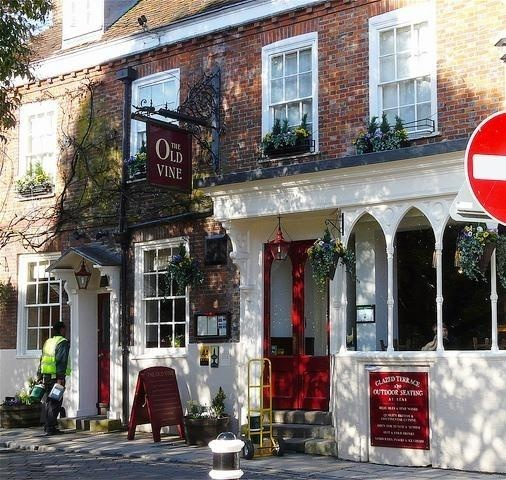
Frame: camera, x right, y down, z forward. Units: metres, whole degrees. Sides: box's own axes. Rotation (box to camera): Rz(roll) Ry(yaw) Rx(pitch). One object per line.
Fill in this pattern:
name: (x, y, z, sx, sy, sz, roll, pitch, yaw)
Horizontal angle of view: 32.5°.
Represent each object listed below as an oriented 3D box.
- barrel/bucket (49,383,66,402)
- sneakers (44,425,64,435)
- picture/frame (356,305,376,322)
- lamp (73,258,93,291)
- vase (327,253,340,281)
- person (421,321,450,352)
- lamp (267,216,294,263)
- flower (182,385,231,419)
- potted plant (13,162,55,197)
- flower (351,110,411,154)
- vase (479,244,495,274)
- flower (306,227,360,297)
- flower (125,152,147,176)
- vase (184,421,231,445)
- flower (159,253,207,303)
barrel/bucket: (-3.366, 2.653, 15.107, 0.258, 0.312, 0.332, -1, -7, -12)
sneakers: (-3.480, 3.386, 15.433, 0.317, 0.186, 0.132, 1, -1, -13)
picture/frame: (1.679, 1.182, 13.842, 0.192, 0.408, 0.349, 5, -7, -40)
lamp: (-3.293, 0.678, 16.987, 0.304, 0.545, 0.583, -1, -7, -12)
vase: (1.101, 0.382, 12.878, 0.173, 0.352, 0.261, -2, -7, 5)
person: (2.637, 1.513, 13.405, 0.359, 0.421, 2.838, -4, -8, 10)
lamp: (0.344, -0.024, 13.744, 0.316, 0.820, 0.326, -16, -24, 40)
flower: (-0.820, 2.726, 14.498, 0.509, 0.475, 0.477, -3, -8, 10)
potted plant: (-4.474, -1.262, 18.126, 0.991, 0.742, 0.227, -9, -9, 38)
flower: (1.843, -1.674, 13.453, 0.817, 0.693, 0.507, -6, -8, 22)
vase: (2.989, 0.252, 11.585, 0.203, 0.369, 0.307, -6, -8, 32)
flower: (1.036, 0.225, 12.967, 0.495, 0.813, 0.575, -12, 11, -39)
flower: (-2.199, -1.419, 16.447, 0.254, 0.444, 0.393, 6, -20, -31)
vase: (-0.812, 3.082, 14.041, 0.443, 0.322, 0.387, 5, -11, -17)
flower: (-1.334, 0.599, 15.626, 0.469, 0.722, 1.036, 2, -9, -33)
